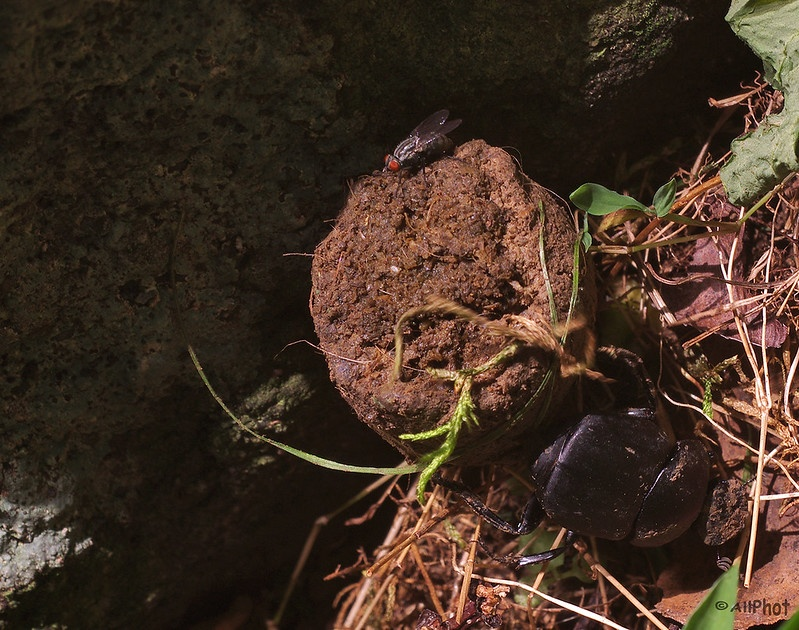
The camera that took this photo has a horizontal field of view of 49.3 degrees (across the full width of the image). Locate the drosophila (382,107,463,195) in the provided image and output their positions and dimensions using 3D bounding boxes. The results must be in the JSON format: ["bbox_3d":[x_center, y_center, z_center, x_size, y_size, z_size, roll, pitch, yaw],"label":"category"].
[{"bbox_3d":[0.059,-0.492,2.579,0.280,0.087,0.165,-34,26,-5],"label":"drosophila"}]
